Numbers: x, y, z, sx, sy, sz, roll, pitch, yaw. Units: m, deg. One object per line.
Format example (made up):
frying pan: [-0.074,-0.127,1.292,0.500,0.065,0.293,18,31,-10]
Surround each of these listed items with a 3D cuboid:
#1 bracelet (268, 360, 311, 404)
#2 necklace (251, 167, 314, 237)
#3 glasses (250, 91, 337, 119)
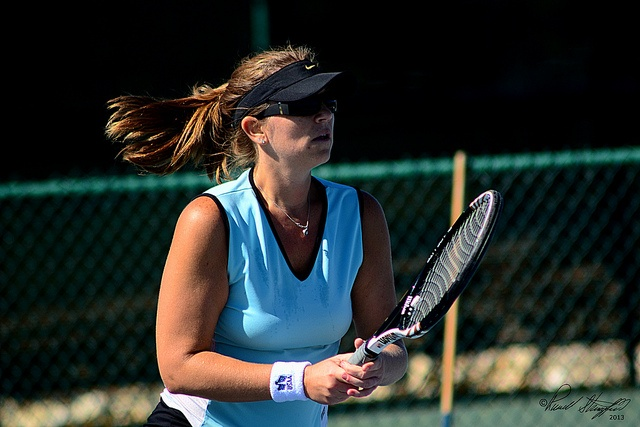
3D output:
bracelet: [-0.233,1.134,5.453,0.192,0.295,0.362,1,3,-9]
necklace: [-0.250,-0.057,5.731,0.248,0.487,0.284,-44,0,-25]
glasses: [-0.171,-0.758,5.623,0.588,0.153,0.159,-3,6,1]
